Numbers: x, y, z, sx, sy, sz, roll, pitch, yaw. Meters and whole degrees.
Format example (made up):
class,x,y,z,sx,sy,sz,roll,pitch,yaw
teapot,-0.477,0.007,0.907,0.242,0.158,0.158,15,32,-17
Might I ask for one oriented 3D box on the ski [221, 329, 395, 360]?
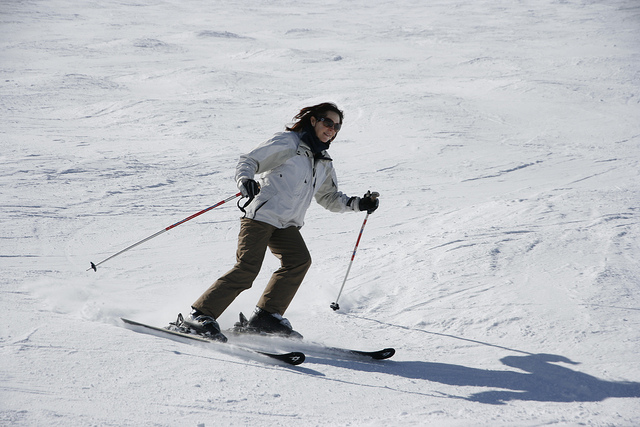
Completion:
class,x,y,z,sx,sy,sz,roll,pitch,yaw
ski,-0.311,2.571,15.390,3.686,0.266,0.183,5,53,0
